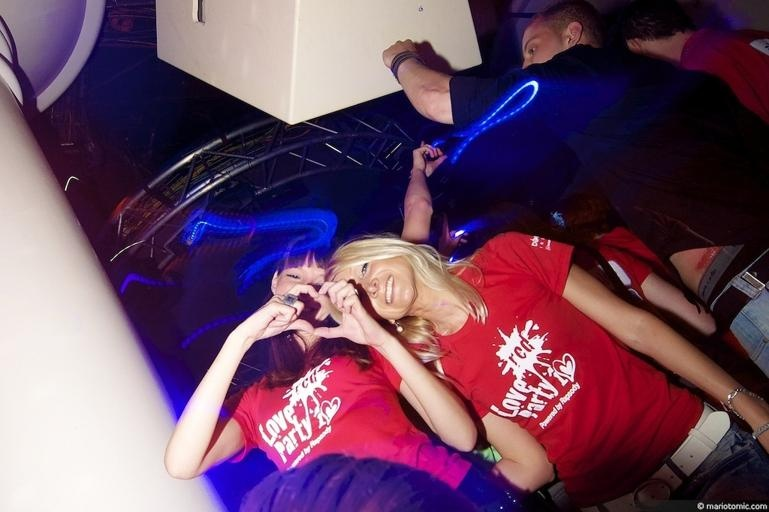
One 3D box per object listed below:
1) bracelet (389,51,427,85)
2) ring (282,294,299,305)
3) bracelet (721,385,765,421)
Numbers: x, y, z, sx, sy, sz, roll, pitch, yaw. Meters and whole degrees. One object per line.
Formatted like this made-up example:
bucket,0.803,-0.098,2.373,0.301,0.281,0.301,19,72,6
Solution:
bracelet,0.123,-1.009,2.512,0.150,0.172,0.081,1,32,-38
ring,-0.417,0.191,2.105,0.061,0.036,0.081,-7,38,-14
bracelet,1.594,0.651,2.158,0.188,0.063,0.145,14,82,2
